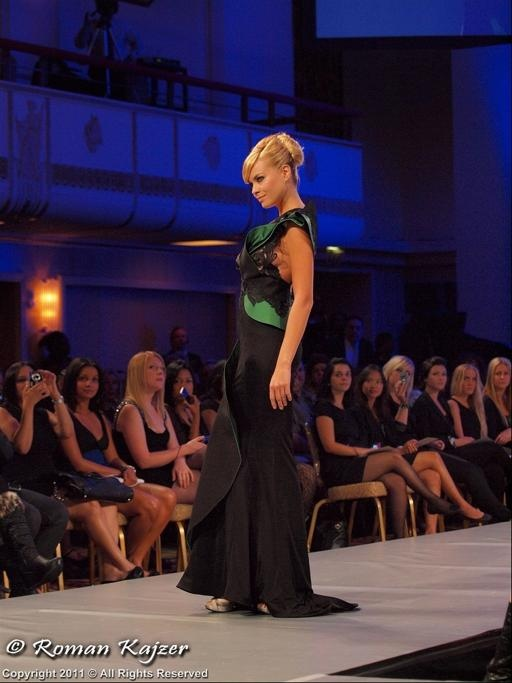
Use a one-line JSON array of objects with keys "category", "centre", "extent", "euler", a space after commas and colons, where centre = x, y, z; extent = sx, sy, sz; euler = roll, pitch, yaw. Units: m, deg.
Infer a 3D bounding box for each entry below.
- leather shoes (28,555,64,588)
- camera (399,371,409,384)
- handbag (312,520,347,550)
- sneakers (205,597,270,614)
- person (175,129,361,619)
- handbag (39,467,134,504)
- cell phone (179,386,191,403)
[{"category": "leather shoes", "centre": [-0.798, 0.872, 2.755], "extent": [0.115, 0.108, 0.063], "euler": [1, -3, -16]}, {"category": "camera", "centre": [1.062, 0.258, 5.233], "extent": [0.080, 0.070, 0.023], "euler": [22, -29, -13]}, {"category": "handbag", "centre": [0.423, 1.119, 4.174], "extent": [0.122, 0.149, 0.088], "euler": [-27, -60, 29]}, {"category": "sneakers", "centre": [-0.058, 0.785, 2.136], "extent": [0.188, 0.044, 0.065], "euler": [6, 0, 8]}, {"category": "person", "centre": [0.003, 0.088, 2.154], "extent": [0.443, 1.433, 0.321], "euler": [-2, -3, 27]}, {"category": "handbag", "centre": [-0.756, 0.646, 3.226], "extent": [0.236, 0.073, 0.227], "euler": [1, -6, 27]}, {"category": "cell phone", "centre": [-0.424, 0.313, 4.314], "extent": [0.054, 0.090, 0.021], "euler": [-18, 21, -20]}]
